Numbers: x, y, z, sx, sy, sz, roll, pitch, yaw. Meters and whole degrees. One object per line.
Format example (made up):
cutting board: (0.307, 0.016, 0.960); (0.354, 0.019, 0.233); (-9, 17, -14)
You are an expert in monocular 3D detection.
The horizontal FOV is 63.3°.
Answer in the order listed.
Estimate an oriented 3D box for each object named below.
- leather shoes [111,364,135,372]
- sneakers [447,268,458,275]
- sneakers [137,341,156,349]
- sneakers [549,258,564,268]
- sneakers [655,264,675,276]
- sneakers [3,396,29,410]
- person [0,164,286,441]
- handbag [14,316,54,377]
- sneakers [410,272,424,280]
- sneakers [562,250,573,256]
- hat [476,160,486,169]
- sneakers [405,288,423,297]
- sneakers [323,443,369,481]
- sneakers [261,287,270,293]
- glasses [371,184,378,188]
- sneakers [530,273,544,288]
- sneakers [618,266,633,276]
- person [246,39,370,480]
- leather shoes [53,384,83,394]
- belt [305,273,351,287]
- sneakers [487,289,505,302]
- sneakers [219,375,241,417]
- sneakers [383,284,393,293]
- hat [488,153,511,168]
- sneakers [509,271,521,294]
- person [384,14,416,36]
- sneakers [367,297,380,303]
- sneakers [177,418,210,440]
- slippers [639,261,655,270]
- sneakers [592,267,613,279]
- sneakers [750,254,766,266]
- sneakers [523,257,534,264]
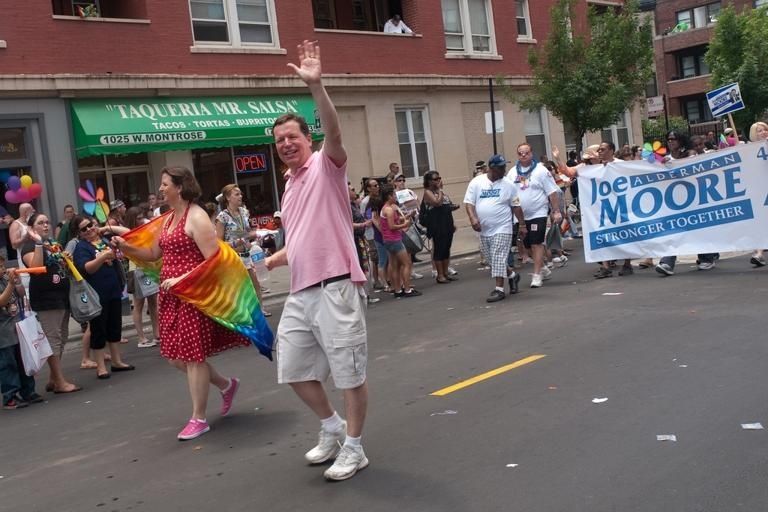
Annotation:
leather shoes: (-3.991, 1.708, 9.545); (0.357, 0.107, 0.128); (-6, 0, 2)
sneakers: (1.645, 0.379, 15.128); (0.127, 0.160, 0.378); (-3, -1, -18)
sneakers: (-4.232, 1.579, 11.173); (0.336, 0.134, 0.144); (-2, 3, 8)
sneakers: (3.916, 0.164, 14.192); (0.469, 0.198, 0.184); (-2, 3, -37)
sneakers: (5.100, 0.240, 11.348); (0.295, 0.199, 0.373); (-4, 8, 23)
sneakers: (-4.896, 1.943, 8.256); (0.301, 0.129, 0.158); (-2, 2, 8)
person: (-2.078, 0.424, 6.771); (1.483, 2.754, 1.013); (-1, 9, 44)
handbag: (-4.531, 1.135, 8.188); (0.636, 0.644, 0.233); (-25, -7, 26)
sneakers: (0.806, 0.500, 15.394); (0.306, 0.131, 0.124); (4, 18, 14)
sneakers: (4.543, -0.060, 15.544); (0.206, 0.102, 0.263); (-1, 1, -3)
hat: (2.592, -2.440, 16.826); (0.306, 0.276, 0.376); (2, 15, 17)
sneakers: (0.626, 0.776, 12.924); (0.389, 0.156, 0.142); (-1, 11, 6)
sneakers: (-0.304, 1.703, 5.206); (0.169, 0.205, 0.483); (-3, 9, 37)
sneakers: (-2.887, 0.834, 15.114); (0.157, 0.165, 0.418); (-3, 0, -32)
glasses: (-0.213, -1.541, 13.979); (0.089, 0.100, 0.074); (-29, -18, -15)
sneakers: (2.880, 0.444, 11.841); (0.235, 0.284, 0.437); (-6, 7, 12)
sneakers: (4.633, 0.295, 11.961); (0.144, 0.171, 0.384); (2, 6, 42)
person: (-0.585, 0.052, 5.177); (0.807, 3.539, 0.608); (-7, 6, 1)
leather shoes: (-4.413, 1.861, 8.690); (0.364, 0.095, 0.147); (-6, 4, 7)
belt: (-0.471, 0.216, 5.138); (0.387, 0.095, 0.059); (-7, 7, 1)
sneakers: (1.979, 0.688, 11.070); (0.280, 0.196, 0.414); (-4, 8, 26)
sneakers: (-1.738, 1.533, 6.959); (0.169, 0.510, 0.203); (10, 3, 40)
sneakers: (0.067, 0.752, 14.057); (0.231, 0.249, 0.634); (-1, 0, -4)
hat: (2.033, -1.703, 11.220); (0.226, 0.176, 0.300); (-11, -1, -43)
sneakers: (2.389, 0.459, 11.541); (0.156, 0.483, 0.206); (-3, -19, 43)
person: (0.623, -8.706, 23.662); (1.011, 0.884, 0.548); (-16, 29, -25)
sneakers: (-0.219, 0.933, 12.920); (0.171, 0.096, 0.246); (-1, -2, 39)
sneakers: (-1.953, 1.784, 6.480); (0.142, 0.149, 0.376); (0, 1, 35)
slippers: (5.245, 0.184, 12.429); (0.349, 0.147, 0.116); (3, -3, -27)
sneakers: (4.240, 0.332, 11.985); (0.475, 0.211, 0.168); (-6, 4, -31)
sneakers: (6.617, 0.115, 11.019); (0.129, 0.163, 0.371); (8, -16, 45)
sneakers: (3.584, 0.108, 15.505); (0.282, 0.116, 0.127); (-5, 9, -23)
